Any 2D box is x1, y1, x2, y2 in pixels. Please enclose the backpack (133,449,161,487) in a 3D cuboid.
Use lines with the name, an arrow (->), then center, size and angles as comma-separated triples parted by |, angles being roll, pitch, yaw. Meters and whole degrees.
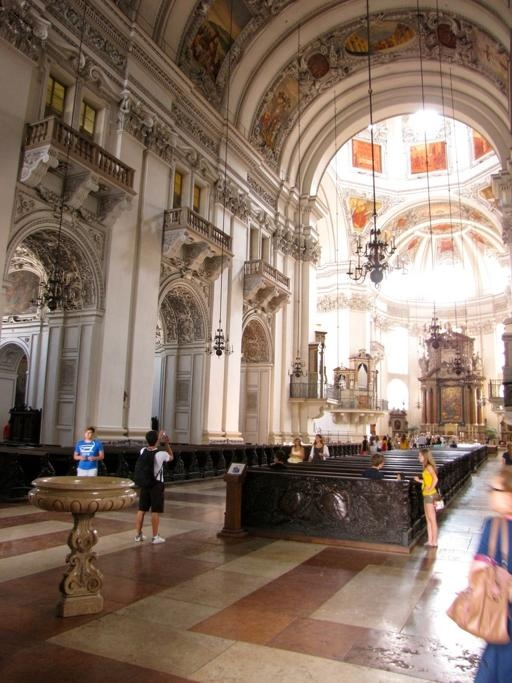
backpack -> -1.237, 1.470, 5.670 | 0.281, 0.438, 0.212 | 3, -8, -13

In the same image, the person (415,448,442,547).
person -> 2.195, 1.986, 6.273 | 0.270, 1.161, 0.463 | -1, -8, 18

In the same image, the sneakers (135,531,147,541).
sneakers -> -1.338, 2.282, 5.747 | 0.068, 0.074, 0.176 | 0, -5, 10

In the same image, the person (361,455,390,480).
person -> 1.544, 1.650, 6.383 | 0.271, 0.311, 0.701 | -1, -8, 13

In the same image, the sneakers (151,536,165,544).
sneakers -> -1.113, 2.278, 5.666 | 0.065, 0.079, 0.170 | 0, -4, 24
